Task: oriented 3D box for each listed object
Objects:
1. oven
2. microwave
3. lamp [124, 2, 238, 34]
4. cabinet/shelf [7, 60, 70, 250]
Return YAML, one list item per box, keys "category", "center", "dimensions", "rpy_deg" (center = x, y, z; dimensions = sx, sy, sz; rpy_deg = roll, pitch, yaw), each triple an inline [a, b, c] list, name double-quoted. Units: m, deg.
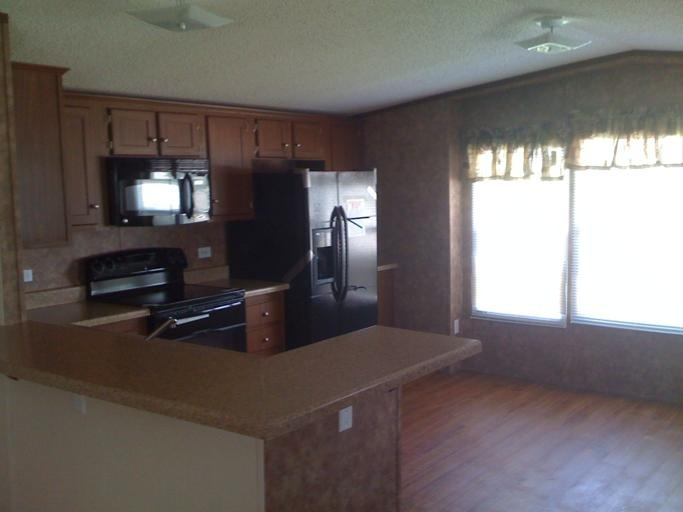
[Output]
- category: "oven"
  center: [-1.122, 0.529, 4.545]
  dimensions: [0.458, 0.524, 0.768]
  rpy_deg: [6, 7, 38]
- category: "microwave"
  center: [-1.494, -0.524, 4.654]
  dimensions: [0.509, 0.675, 0.997]
  rpy_deg: [3, 5, 39]
- category: "lamp"
  center: [-0.810, -1.216, 2.909]
  dimensions: [0.486, 0.141, 0.173]
  rpy_deg: [-5, 11, -13]
- category: "cabinet/shelf"
  center: [-1.962, -0.648, 3.832]
  dimensions: [0.386, 1.190, 0.173]
  rpy_deg: [-8, 12, -24]
